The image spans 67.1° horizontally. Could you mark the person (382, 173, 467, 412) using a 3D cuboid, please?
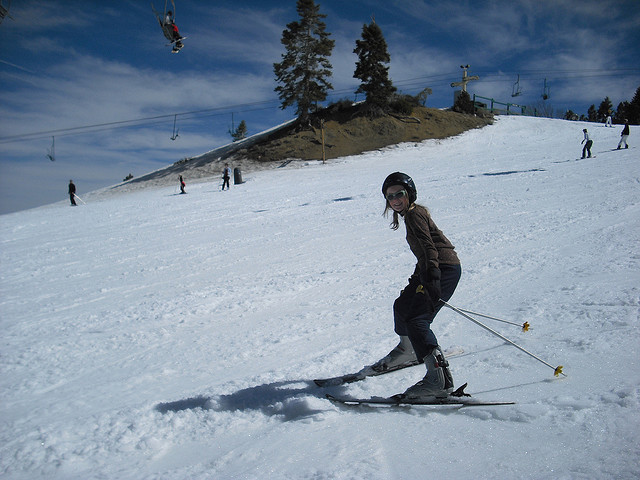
[{"bbox_3d":[1.203,0.536,5.300,0.701,2.539,1.035,-6,14,-10],"label":"person"}]

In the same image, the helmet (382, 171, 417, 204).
[{"bbox_3d":[0.935,-0.578,5.476,0.442,0.348,0.363,-13,11,-15],"label":"helmet"}]

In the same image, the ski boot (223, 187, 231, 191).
[{"bbox_3d":[-4.705,-2.545,24.382,0.306,0.056,0.678,-3,10,-4],"label":"ski boot"}]

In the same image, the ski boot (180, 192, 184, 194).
[{"bbox_3d":[-7.246,-2.465,25.291,0.143,0.081,0.475,-8,12,-24],"label":"ski boot"}]

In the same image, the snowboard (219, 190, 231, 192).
[{"bbox_3d":[-4.802,-2.497,24.297,0.170,0.097,0.667,-15,17,-28],"label":"snowboard"}]

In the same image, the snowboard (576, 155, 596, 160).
[{"bbox_3d":[10.454,-3.237,18.990,0.155,0.143,1.285,4,9,7],"label":"snowboard"}]

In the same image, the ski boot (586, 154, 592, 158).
[{"bbox_3d":[10.667,-3.334,19.075,0.154,0.123,0.353,3,12,27],"label":"ski boot"}]
